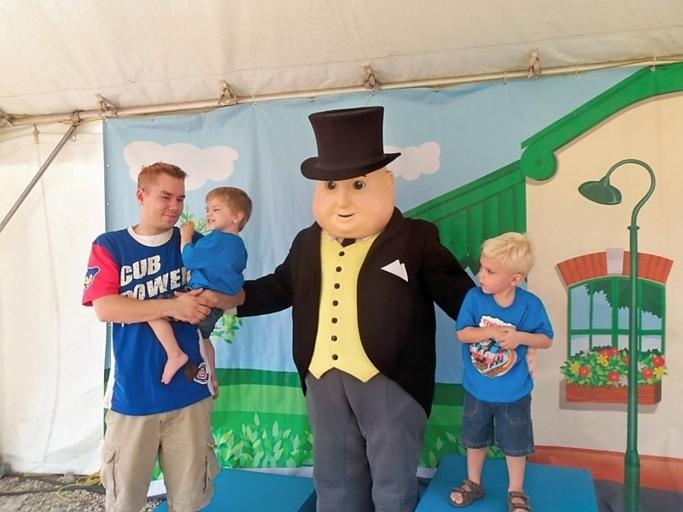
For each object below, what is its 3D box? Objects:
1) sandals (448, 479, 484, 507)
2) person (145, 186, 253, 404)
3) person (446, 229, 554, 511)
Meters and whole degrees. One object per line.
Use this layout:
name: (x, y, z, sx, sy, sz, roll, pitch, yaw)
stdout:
sandals: (0.708, 1.359, 3.980, 0.208, 0.085, 0.102, -1, 1, -38)
person: (-0.853, 0.203, 4.183, 0.435, 1.264, 0.528, 13, 7, 41)
person: (0.899, 0.651, 3.969, 0.561, 1.557, 0.314, 0, -3, 15)
